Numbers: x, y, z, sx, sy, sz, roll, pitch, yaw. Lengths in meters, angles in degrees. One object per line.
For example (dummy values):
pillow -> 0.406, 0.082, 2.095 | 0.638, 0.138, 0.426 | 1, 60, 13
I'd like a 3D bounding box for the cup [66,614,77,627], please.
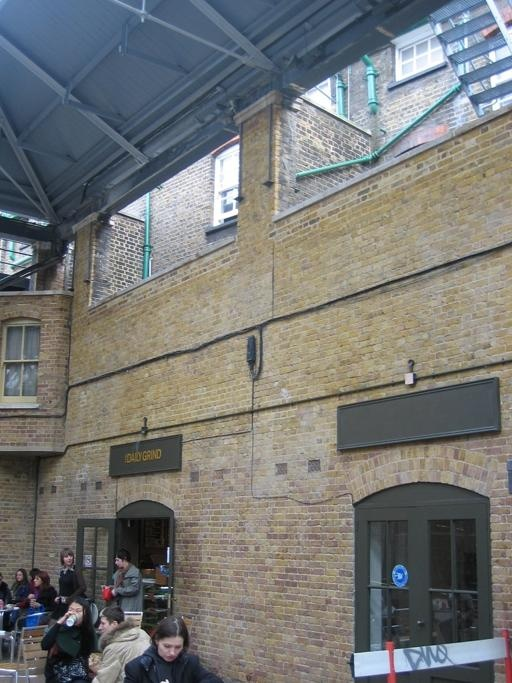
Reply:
cup -> -1.404, 2.156, 5.552 | 0.062, 0.059, 0.092 | -5, -4, -2
